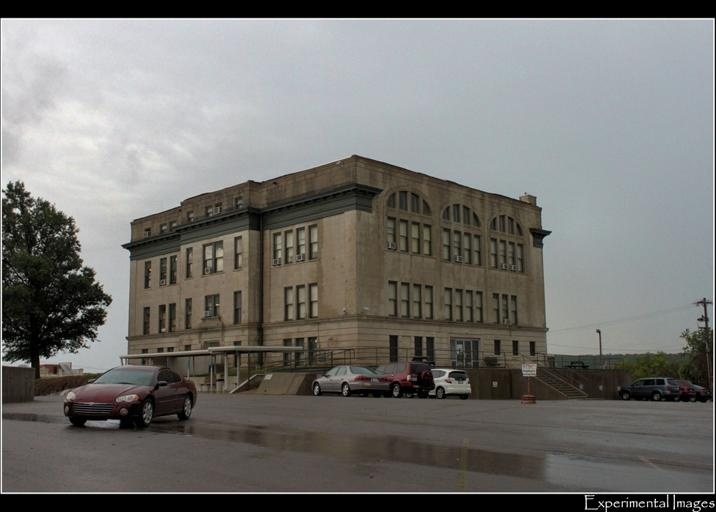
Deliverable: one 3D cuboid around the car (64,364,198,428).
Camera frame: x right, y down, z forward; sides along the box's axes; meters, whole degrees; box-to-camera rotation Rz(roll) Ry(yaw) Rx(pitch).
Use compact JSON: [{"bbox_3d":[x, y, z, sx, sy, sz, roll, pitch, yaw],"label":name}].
[{"bbox_3d":[-6.568,4.289,20.189,2.161,1.835,4.330,-7,-15,23],"label":"car"}]
